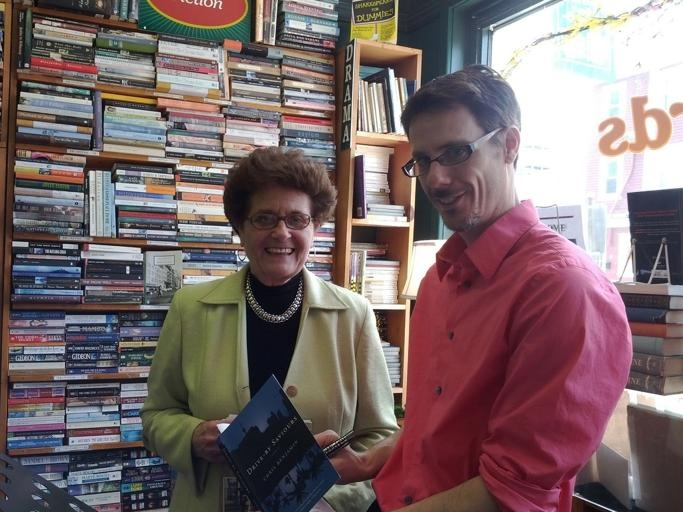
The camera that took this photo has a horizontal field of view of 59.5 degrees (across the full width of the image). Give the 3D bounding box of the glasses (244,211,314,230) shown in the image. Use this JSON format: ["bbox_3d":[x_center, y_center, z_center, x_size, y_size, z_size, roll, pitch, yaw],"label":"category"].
[{"bbox_3d":[-0.215,-0.118,2.059,0.204,0.065,0.061,0,1,-12],"label":"glasses"}]
